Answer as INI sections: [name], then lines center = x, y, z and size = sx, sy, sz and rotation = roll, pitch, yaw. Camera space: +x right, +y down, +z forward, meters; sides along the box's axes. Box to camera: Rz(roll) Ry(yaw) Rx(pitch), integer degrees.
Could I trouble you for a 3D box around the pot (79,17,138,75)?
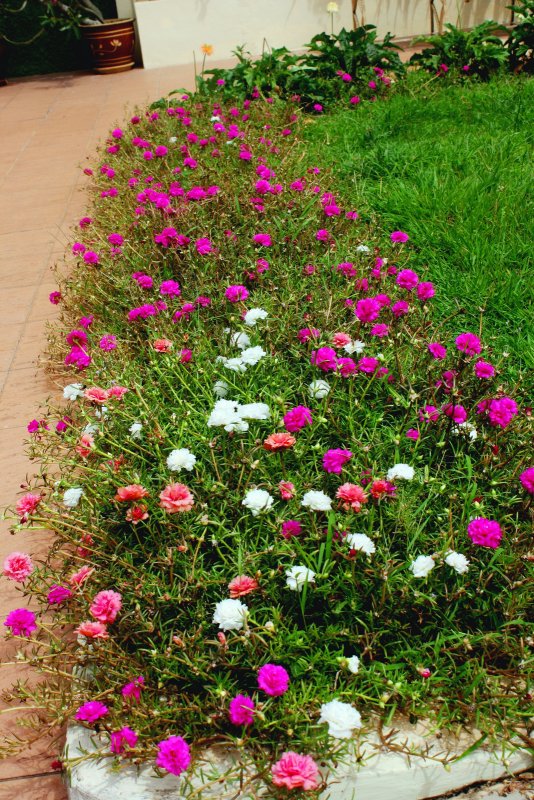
[pot]
center = -1.663, -3.876, 7.496
size = 0.645, 0.459, 0.581
rotation = 16, 49, 19
